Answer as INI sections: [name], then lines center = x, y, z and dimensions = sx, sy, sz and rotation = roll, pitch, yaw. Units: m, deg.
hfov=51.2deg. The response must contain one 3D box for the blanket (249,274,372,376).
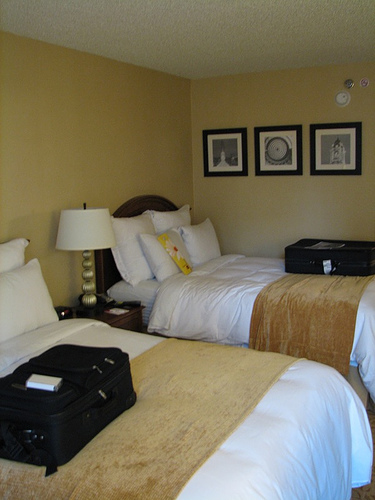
[blanket]
center = 0.855, 0.456, 3.168
dimensions = 0.881, 0.507, 1.309
rotation = 6, 9, 26

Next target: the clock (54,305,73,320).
[clock]
center = -0.900, 0.455, 2.847
dimensions = 0.089, 0.043, 0.113
rotation = 1, 7, -3

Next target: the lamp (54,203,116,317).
[lamp]
center = -0.719, 0.053, 3.009
dimensions = 0.476, 0.835, 0.447
rotation = 2, 6, 35

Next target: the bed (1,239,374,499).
[bed]
center = 0.021, 0.521, 1.931
dimensions = 1.467, 0.619, 1.213
rotation = 1, 8, 14
